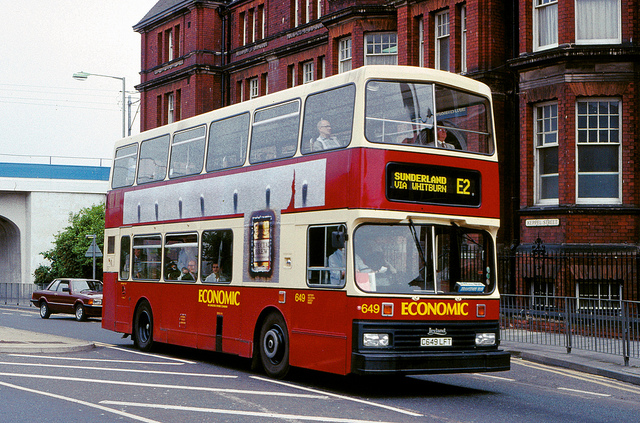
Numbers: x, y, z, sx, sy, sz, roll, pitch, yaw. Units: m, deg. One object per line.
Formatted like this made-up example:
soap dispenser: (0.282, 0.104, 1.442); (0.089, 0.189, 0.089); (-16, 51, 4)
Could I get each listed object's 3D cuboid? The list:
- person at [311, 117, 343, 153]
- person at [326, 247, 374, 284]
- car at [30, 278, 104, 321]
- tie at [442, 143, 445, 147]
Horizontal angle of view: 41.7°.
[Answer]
person: (0.187, -1.763, 19.307); (0.245, 0.812, 0.806); (-1, 3, -38)
person: (0.534, 1.117, 18.820); (0.784, 0.396, 1.090); (-25, 43, -23)
car: (-10.709, 3.821, 36.106); (4.259, 1.809, 1.027); (2, 3, 37)
tie: (2.840, -1.503, 19.121); (0.028, 0.074, 0.066); (2, 2, 25)
